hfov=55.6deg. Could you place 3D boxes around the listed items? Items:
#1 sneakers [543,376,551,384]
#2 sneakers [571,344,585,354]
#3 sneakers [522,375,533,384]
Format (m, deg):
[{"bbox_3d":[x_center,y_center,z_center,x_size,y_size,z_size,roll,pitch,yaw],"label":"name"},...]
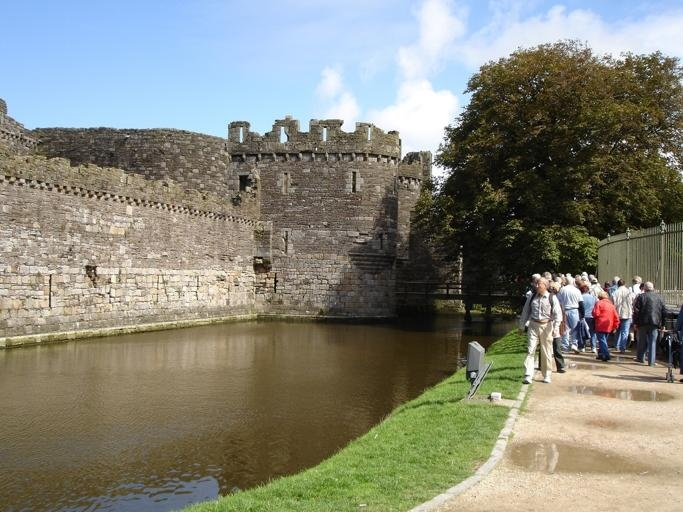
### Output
[{"bbox_3d":[4.632,2.797,14.683,0.156,0.153,0.333,-3,6,20],"label":"sneakers"},{"bbox_3d":[6.797,2.706,18.815,0.185,0.243,0.562,-3,-9,35],"label":"sneakers"},{"bbox_3d":[4.148,2.766,14.558,0.224,0.230,0.386,-3,6,18],"label":"sneakers"}]
